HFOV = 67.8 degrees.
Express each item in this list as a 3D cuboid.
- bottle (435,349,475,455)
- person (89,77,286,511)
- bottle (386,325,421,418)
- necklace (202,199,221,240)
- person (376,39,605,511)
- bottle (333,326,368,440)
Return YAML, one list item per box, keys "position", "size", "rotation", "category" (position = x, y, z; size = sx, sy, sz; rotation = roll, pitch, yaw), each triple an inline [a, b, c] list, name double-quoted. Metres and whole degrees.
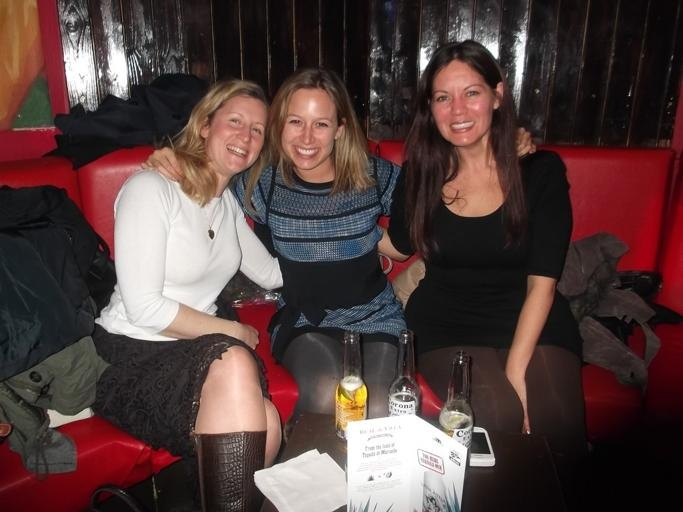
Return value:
- position: [0.359, 0.453, 1.575]
  size: [0.099, 0.336, 0.237]
  rotation: [3, 17, 15]
  category: "bottle"
- position: [-0.644, 0.045, 1.965]
  size: [0.735, 1.387, 0.820]
  rotation: [-2, 16, -1]
  category: "person"
- position: [0.201, 0.405, 1.607]
  size: [0.101, 0.351, 0.321]
  rotation: [1, 17, 9]
  category: "bottle"
- position: [-0.545, -0.156, 2.147]
  size: [0.034, 0.147, 0.082]
  rotation: [4, -4, 33]
  category: "necklace"
- position: [0.597, 0.019, 2.190]
  size: [0.964, 1.798, 0.709]
  rotation: [6, 18, 25]
  category: "person"
- position: [0.033, 0.428, 1.609]
  size: [0.099, 0.368, 0.160]
  rotation: [-3, 16, -6]
  category: "bottle"
